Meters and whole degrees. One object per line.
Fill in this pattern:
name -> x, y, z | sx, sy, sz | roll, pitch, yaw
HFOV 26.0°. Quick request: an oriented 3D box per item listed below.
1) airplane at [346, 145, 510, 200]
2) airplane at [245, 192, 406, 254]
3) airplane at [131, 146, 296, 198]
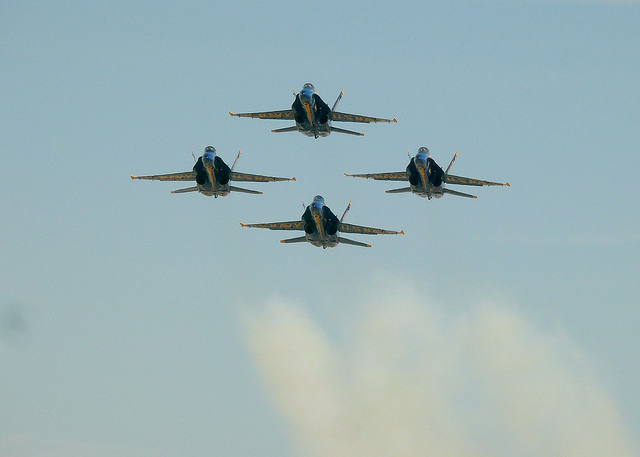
airplane -> 6.227, -2.415, 75.559 | 6.956, 13.591, 3.869 | 0, -82, 6
airplane -> 0.249, -1.048, 88.379 | 9.939, 4.409, 8.966 | 2, -17, 7
airplane -> -6.939, -2.557, 87.281 | 6.775, 4.683, 3.786 | -11, -54, 1
